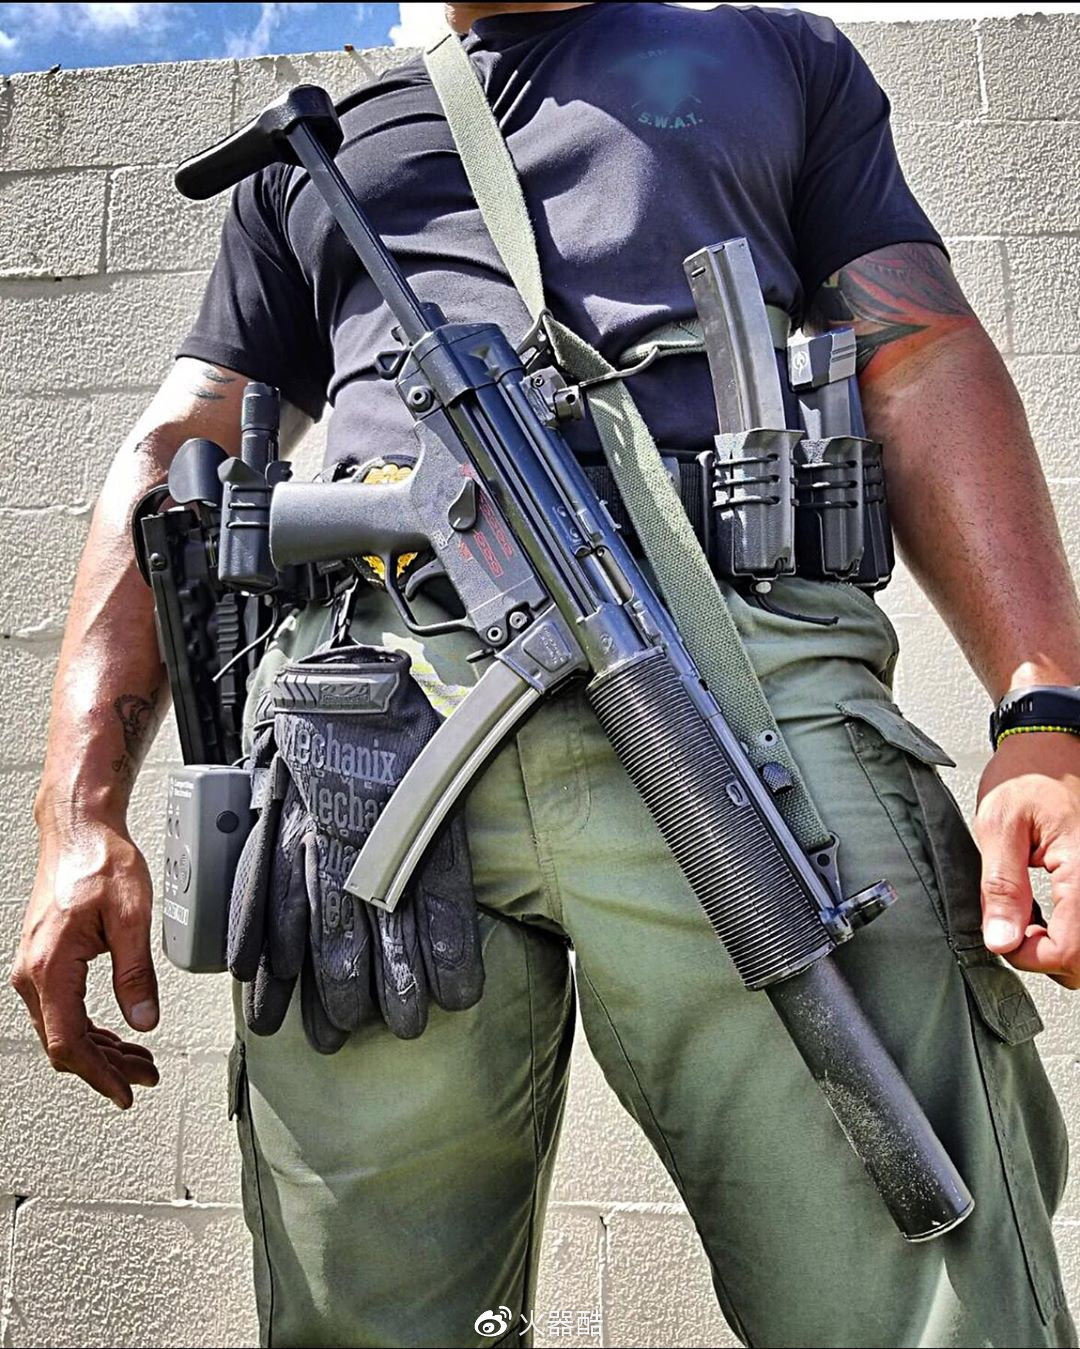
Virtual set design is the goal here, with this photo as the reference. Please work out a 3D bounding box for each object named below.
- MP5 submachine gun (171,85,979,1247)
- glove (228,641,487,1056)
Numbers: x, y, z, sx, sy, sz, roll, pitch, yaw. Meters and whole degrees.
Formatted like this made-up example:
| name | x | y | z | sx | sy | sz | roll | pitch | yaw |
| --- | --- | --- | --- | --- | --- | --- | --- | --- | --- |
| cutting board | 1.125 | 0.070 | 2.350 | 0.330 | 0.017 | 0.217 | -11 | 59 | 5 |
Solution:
| name | x | y | z | sx | sy | sz | roll | pitch | yaw |
| --- | --- | --- | --- | --- | --- | --- | --- | --- | --- |
| MP5 submachine gun | 0.045 | 0.067 | 1.386 | 0.672 | 0.803 | 0.223 | -2 | 11 | 27 |
| glove | -0.177 | 0.155 | 1.462 | 0.295 | 0.372 | 0.111 | 2 | -3 | 11 |
